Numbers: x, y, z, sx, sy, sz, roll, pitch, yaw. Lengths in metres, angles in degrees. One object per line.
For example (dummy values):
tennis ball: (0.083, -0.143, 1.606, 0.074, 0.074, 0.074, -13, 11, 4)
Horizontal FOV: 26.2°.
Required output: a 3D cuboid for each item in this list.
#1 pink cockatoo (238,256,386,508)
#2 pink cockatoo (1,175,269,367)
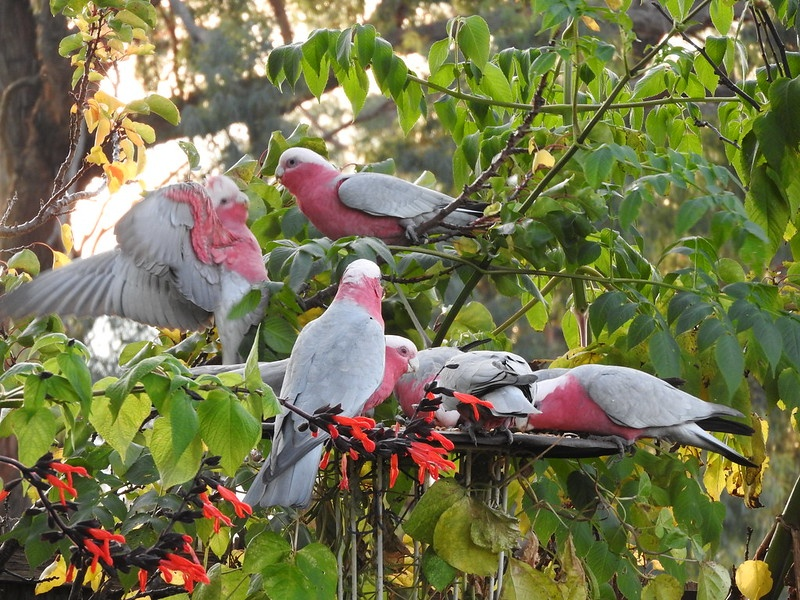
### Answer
pink cockatoo: (-0.167, 0.186, 4.537, 0.530, 0.329, 0.147, 22, 23, 34)
pink cockatoo: (-0.673, -0.083, 4.544, 0.657, 0.404, 0.414, -4, 6, -4)
